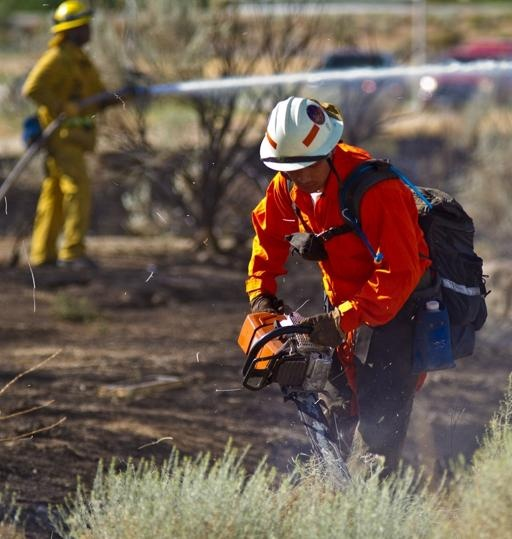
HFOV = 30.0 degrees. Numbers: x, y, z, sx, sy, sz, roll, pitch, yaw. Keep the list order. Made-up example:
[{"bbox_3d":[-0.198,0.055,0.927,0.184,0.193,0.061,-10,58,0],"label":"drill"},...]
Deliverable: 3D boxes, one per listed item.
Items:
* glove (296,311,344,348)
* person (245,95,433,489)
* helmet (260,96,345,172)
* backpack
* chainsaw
[{"bbox_3d":[0.313,0.281,4.398,0.203,0.203,0.092,4,24,15],"label":"glove"},{"bbox_3d":[0.358,0.158,4.643,0.913,1.963,0.640,6,25,17],"label":"person"},{"bbox_3d":[0.195,-0.628,4.480,0.492,0.311,0.559,-3,5,-9],"label":"helmet"},{"bbox_3d":[0.968,0.004,4.716,0.437,0.785,0.454,25,19,24],"label":"backpack"},{"bbox_3d":[0.267,0.610,4.672,0.667,0.793,0.601,-7,20,-40],"label":"chainsaw"}]
